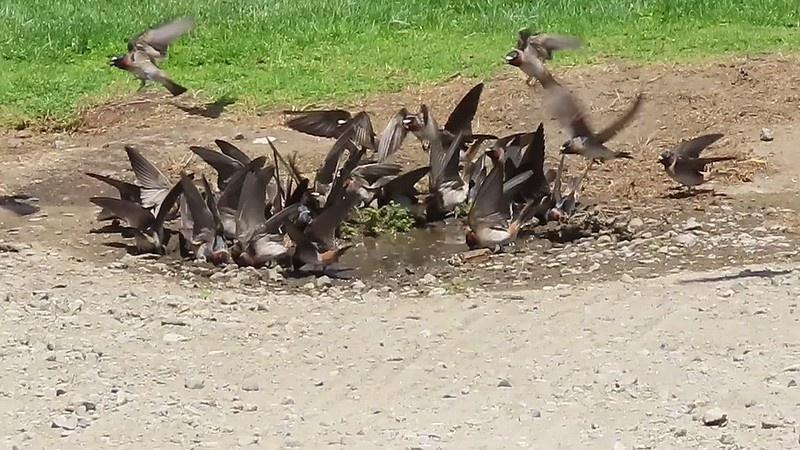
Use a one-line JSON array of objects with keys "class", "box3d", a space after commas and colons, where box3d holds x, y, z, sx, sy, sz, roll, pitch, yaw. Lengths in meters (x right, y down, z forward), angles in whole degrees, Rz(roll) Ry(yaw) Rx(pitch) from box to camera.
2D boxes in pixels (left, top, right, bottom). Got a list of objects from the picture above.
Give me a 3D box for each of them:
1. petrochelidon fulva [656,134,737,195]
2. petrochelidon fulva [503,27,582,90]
[{"class": "petrochelidon fulva", "box3d": [3.928, -0.797, 14.879, 0.924, 0.338, 0.812, -5, 25, 10]}, {"class": "petrochelidon fulva", "box3d": [1.846, -2.237, 14.691, 0.945, 0.610, 0.664, -5, 18, -3]}]
